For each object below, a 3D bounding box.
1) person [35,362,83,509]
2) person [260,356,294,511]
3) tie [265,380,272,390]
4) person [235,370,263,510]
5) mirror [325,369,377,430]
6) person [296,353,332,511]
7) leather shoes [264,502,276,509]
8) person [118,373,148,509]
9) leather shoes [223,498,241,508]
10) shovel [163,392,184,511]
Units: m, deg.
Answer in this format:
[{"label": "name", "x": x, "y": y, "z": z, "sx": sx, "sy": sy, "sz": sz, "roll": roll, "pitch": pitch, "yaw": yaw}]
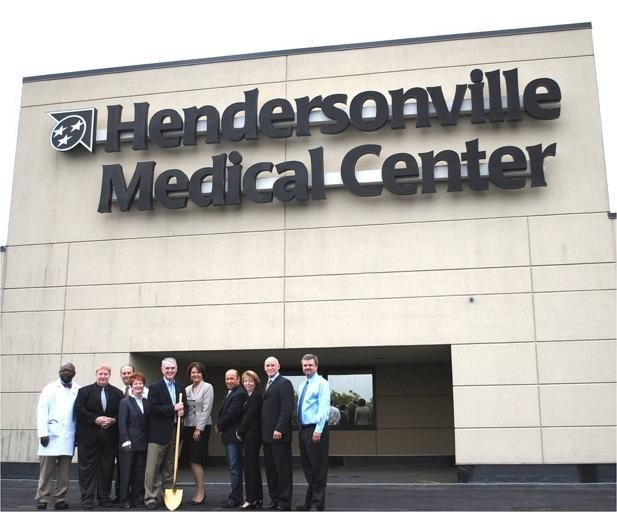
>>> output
[{"label": "person", "x": -3.963, "y": 2.820, "z": 11.922, "sx": 0.646, "sy": 2.264, "sz": 0.765, "roll": 9, "pitch": -24, "yaw": -19}, {"label": "person", "x": -0.475, "y": 2.761, "z": 11.686, "sx": 0.503, "sy": 2.225, "sz": 0.681, "roll": 2, "pitch": -23, "yaw": -2}, {"label": "tie", "x": -0.619, "y": 2.044, "z": 11.871, "sx": 0.105, "sy": 0.162, "sz": 0.037, "roll": 21, "pitch": 3, "yaw": -28}, {"label": "person", "x": -0.893, "y": 2.871, "z": 11.802, "sx": 0.427, "sy": 2.012, "sz": 0.561, "roll": 3, "pitch": -23, "yaw": -4}, {"label": "mirror", "x": 1.044, "y": 3.647, "z": 19.278, "sx": 1.432, "sy": 1.637, "sz": 0.081, "roll": -1, "pitch": -34, "yaw": 6}, {"label": "person", "x": 0.094, "y": 2.615, "z": 11.609, "sx": 0.476, "sy": 2.448, "sz": 0.671, "roll": 1, "pitch": -23, "yaw": 0}, {"label": "leather shoes", "x": -0.568, "y": 3.854, "z": 11.626, "sx": 0.184, "sy": 0.128, "sz": 0.340, "roll": 3, "pitch": -26, "yaw": -3}, {"label": "person", "x": -2.778, "y": 2.914, "z": 11.993, "sx": 0.503, "sy": 2.055, "sz": 0.571, "roll": 6, "pitch": -23, "yaw": -11}, {"label": "leather shoes", "x": -1.177, "y": 3.856, "z": 11.752, "sx": 0.291, "sy": 0.136, "sz": 0.106, "roll": 9, "pitch": -17, "yaw": 0}, {"label": "shovel", "x": -2.079, "y": 3.292, "z": 11.914, "sx": 0.273, "sy": 1.466, "sz": 0.627, "roll": 5, "pitch": -23, "yaw": -9}]
